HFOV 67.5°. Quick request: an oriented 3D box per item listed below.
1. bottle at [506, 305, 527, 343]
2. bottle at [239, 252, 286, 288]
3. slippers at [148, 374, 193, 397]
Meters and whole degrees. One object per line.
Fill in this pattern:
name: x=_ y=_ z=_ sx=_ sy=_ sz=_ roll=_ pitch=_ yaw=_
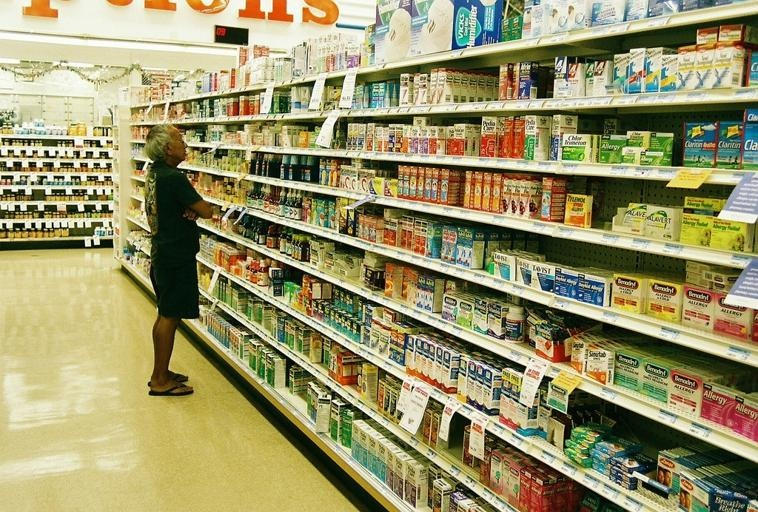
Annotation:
bottle: x=0.799 y=0.394 z=3.286 sx=0.114 sy=0.208 sz=0.060 roll=4 pitch=11 yaw=13
bottle: x=-1.203 y=0.161 z=5.944 sx=0.186 sy=0.196 sz=0.357 roll=-13 pitch=19 yaw=-39
slippers: x=-2.118 y=1.357 z=5.780 sx=0.310 sy=0.075 sz=0.285 roll=0 pitch=9 yaw=-19
